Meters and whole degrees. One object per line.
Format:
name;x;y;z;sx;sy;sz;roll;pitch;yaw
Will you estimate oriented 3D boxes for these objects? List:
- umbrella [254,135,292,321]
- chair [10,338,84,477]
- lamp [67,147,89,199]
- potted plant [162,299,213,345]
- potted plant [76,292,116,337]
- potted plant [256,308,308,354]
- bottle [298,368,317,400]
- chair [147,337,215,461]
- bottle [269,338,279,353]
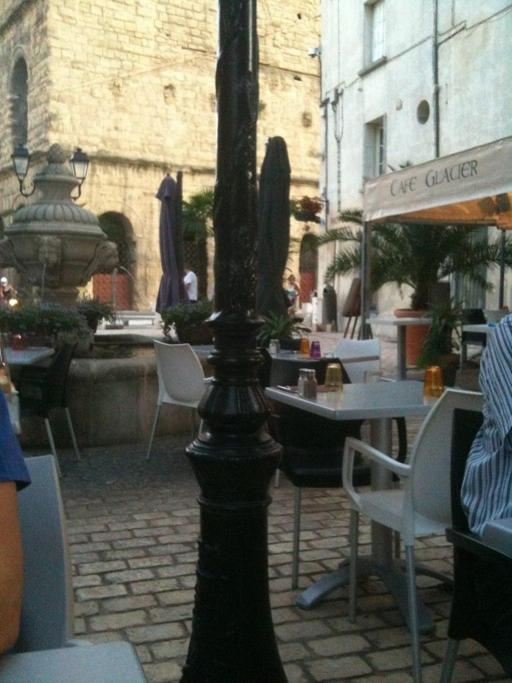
umbrella;0.203;-1.334;7.733;0.357;2.101;0.741;0;5;2
chair;-1.813;0.526;5.560;0.626;1.030;0.614;2;8;3
lamp;-2.855;-2.738;10.906;0.264;0.859;0.262;-6;22;-26
potted plant;-1.017;-0.266;9.849;0.682;0.903;0.931;-6;3;-6
potted plant;-1.982;-0.342;8.152;0.424;0.506;0.463;2;5;30
potted plant;0.288;-0.110;7.533;0.425;0.342;0.454;0;4;11
bottle;0.254;0.216;3.291;0.038;0.116;0.120;-2;3;-15
chair;-0.659;0.434;5.733;0.393;0.725;0.487;-11;-11;-14
bottle;0.165;0.048;5.870;0.090;0.146;0.101;0;-3;3
